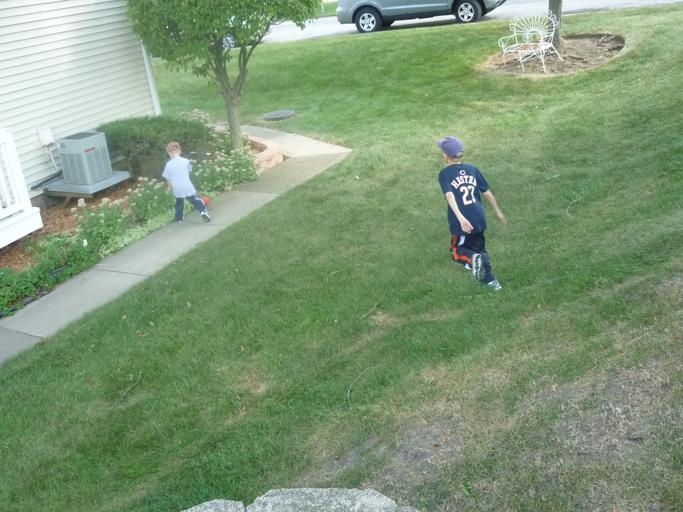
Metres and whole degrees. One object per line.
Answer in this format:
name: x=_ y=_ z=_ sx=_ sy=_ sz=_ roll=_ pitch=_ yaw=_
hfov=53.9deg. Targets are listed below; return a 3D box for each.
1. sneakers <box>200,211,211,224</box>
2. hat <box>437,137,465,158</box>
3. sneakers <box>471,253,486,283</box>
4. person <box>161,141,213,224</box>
sneakers: x=-2.445 y=-0.682 z=12.038 sx=0.078 sy=0.161 sz=0.158 roll=-36 pitch=31 yaw=1
hat: x=1.512 y=-1.522 z=9.325 sx=0.236 sy=0.190 sz=0.341 roll=-13 pitch=43 yaw=-10
sneakers: x=1.885 y=0.158 z=9.203 sx=0.151 sy=0.362 sz=0.157 roll=-10 pitch=1 yaw=-23
person: x=-2.788 y=-1.273 z=11.908 sx=0.703 sy=1.398 sz=0.452 roll=-8 pitch=24 yaw=2
